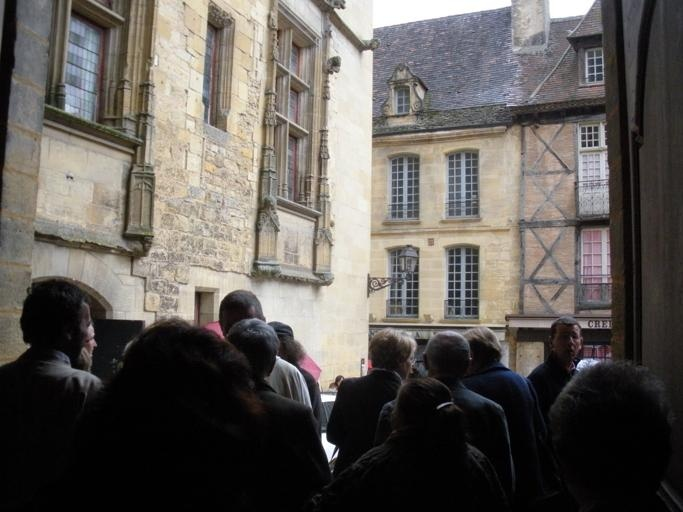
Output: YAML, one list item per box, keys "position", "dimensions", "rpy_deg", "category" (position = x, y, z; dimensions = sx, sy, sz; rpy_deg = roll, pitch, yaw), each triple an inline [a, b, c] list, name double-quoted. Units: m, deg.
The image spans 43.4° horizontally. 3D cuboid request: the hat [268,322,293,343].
- position: [-0.403, 0.509, 5.768]
  dimensions: [0.161, 0.157, 0.128]
  rpy_deg: [1, -6, -12]
  category: "hat"
